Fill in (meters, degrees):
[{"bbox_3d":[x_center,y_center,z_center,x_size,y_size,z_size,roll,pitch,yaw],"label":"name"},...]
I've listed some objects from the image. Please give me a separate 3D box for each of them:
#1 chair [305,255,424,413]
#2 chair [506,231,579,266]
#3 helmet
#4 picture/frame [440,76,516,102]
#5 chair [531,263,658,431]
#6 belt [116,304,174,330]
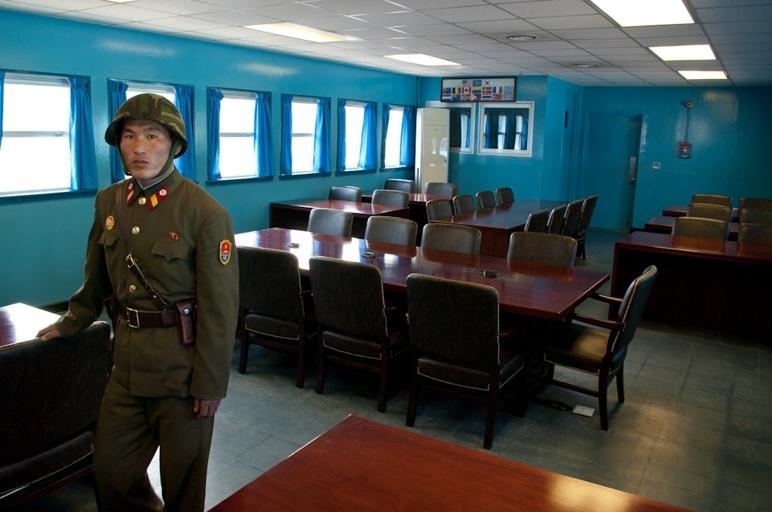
[{"bbox_3d":[-0.199,0.570,4.085,0.734,1.154,0.438,1,13,4],"label":"chair"},{"bbox_3d":[1.377,-0.115,4.739,0.387,0.472,0.420,5,6,24],"label":"chair"},{"bbox_3d":[-1.103,-0.640,2.569,0.370,0.240,0.332,3,6,3],"label":"helmet"},{"bbox_3d":[1.677,-3.064,9.924,1.414,0.451,0.132,7,14,30],"label":"picture/frame"},{"bbox_3d":[1.528,0.665,3.944,0.661,1.141,0.424,6,14,24],"label":"chair"},{"bbox_3d":[-1.078,0.285,2.453,0.276,0.100,0.045,2,13,7],"label":"belt"}]
